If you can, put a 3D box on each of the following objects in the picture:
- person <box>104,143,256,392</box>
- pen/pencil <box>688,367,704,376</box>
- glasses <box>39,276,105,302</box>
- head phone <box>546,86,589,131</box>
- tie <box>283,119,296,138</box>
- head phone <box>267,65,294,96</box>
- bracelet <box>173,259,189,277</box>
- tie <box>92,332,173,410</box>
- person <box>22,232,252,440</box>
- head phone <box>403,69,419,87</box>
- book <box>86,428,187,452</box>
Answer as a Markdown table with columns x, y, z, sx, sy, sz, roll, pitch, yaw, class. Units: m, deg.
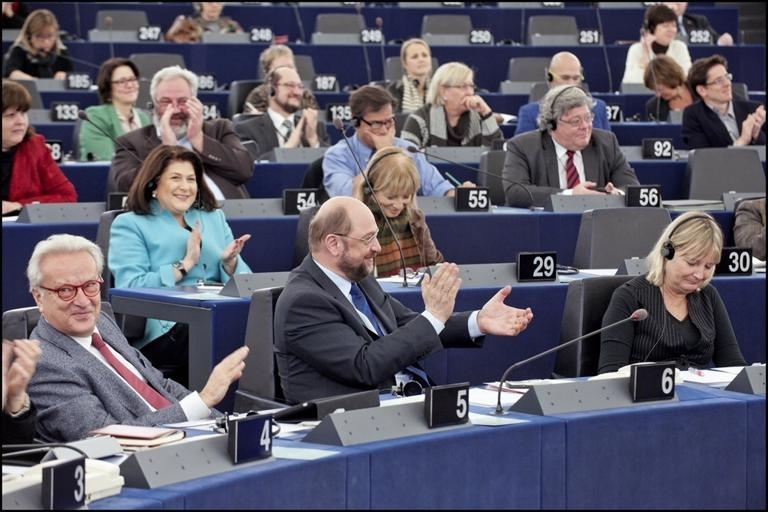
| x | y | z | sx | sy | sz | roll | pitch | yaw | class |
| --- | --- | --- | --- | --- | --- | --- | --- | --- | --- |
| -1.030 | 0.178 | 4.365 | 0.672 | 1.437 | 0.672 | -8 | 13 | -41 | person |
| 1.236 | 0.461 | 3.306 | 0.026 | 0.017 | 0.045 | -1 | 9 | -24 | pen/pencil |
| -1.083 | 0.120 | 2.887 | 0.204 | 0.068 | 0.063 | -5 | 6 | -24 | glasses |
| 1.110 | -0.973 | 5.333 | 0.248 | 0.294 | 0.275 | -2 | 22 | -11 | head phone |
| -0.755 | -1.005 | 6.519 | 0.097 | 0.131 | 0.034 | 0 | -7 | -18 | tie |
| -0.827 | -1.339 | 6.319 | 0.208 | 0.177 | 0.204 | -3 | 0 | 44 | head phone |
| -1.033 | 0.063 | 4.239 | 0.058 | 0.075 | 0.085 | -28 | 1 | -9 | bracelet |
| -0.967 | 0.449 | 3.196 | 0.048 | 0.454 | 0.067 | -17 | 37 | 45 | tie |
| -0.895 | 0.369 | 3.008 | 0.824 | 0.845 | 0.548 | 1 | 14 | 6 | person |
| 0.248 | -1.679 | 7.790 | 0.137 | 0.097 | 0.131 | -2 | 18 | -41 | head phone |
| -0.735 | 0.533 | 2.416 | 0.312 | 0.048 | 0.150 | -1 | 6 | 12 | book |
